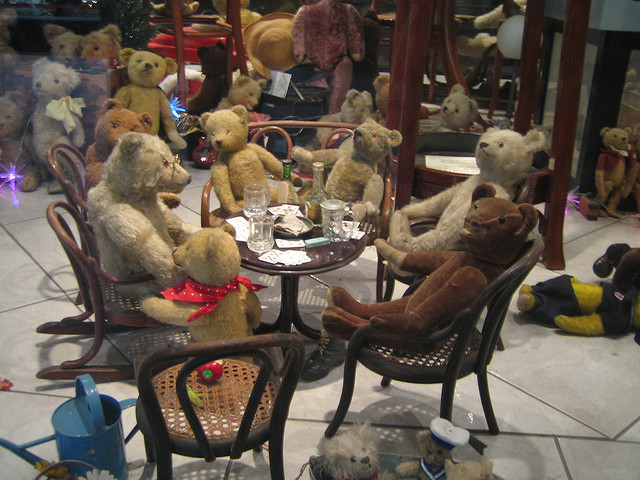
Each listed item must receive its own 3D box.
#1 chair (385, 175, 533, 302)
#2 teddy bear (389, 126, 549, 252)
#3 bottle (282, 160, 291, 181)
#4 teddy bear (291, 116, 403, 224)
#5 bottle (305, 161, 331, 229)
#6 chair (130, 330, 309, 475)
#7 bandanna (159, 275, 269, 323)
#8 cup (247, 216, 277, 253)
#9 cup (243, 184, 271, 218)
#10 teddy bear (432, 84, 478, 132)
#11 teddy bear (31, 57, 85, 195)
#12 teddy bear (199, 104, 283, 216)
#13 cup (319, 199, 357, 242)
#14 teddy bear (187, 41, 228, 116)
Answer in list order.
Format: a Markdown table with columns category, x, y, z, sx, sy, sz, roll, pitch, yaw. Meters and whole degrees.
| category | x | y | z | sx | sy | sz | roll | pitch | yaw |
| --- | --- | --- | --- | --- | --- | --- | --- | --- | --- |
| chair | 0.826 | -0.006 | 3.202 | 0.675 | 0.907 | 0.598 | -5 | 23 | -15 |
| teddy bear | 1.015 | -0.350 | 3.798 | 0.931 | 0.949 | 0.854 | 8 | 27 | 14 |
| bottle | -0.249 | -0.511 | 3.937 | 0.049 | 0.156 | 0.184 | 0 | 23 | -7 |
| teddy bear | 0.226 | -0.540 | 4.185 | 0.745 | 0.899 | 0.686 | 12 | 28 | 24 |
| bottle | -0.011 | -0.312 | 3.717 | 0.199 | 0.484 | 0.200 | 0 | 29 | 0 |
| chair | -0.474 | 0.801 | 2.554 | 0.517 | 0.940 | 0.602 | -2 | 44 | -12 |
| bandanna | -0.626 | 0.240 | 3.177 | 0.623 | 0.270 | 0.408 | 20 | 29 | 41 |
| cup | -0.347 | -0.054 | 3.356 | 0.200 | 0.229 | 0.199 | 2 | 26 | -1 |
| cup | -0.406 | -0.270 | 3.696 | 0.155 | 0.215 | 0.243 | 18 | 23 | 27 |
| teddy bear | 1.392 | -1.338 | 5.497 | 0.353 | 0.422 | 0.619 | 12 | 24 | 20 |
| teddy bear | -2.536 | -1.063 | 5.227 | 0.499 | 1.330 | 0.460 | -4 | -1 | -12 |
| teddy bear | -0.665 | -0.654 | 4.280 | 0.583 | 0.930 | 0.529 | 25 | 33 | 29 |
| cup | 0.132 | -0.167 | 3.534 | 0.305 | 0.315 | 0.200 | 8 | 30 | 12 |
| teddy bear | -1.315 | -1.858 | 6.222 | 0.409 | 0.865 | 0.428 | -15 | 32 | -32 |
